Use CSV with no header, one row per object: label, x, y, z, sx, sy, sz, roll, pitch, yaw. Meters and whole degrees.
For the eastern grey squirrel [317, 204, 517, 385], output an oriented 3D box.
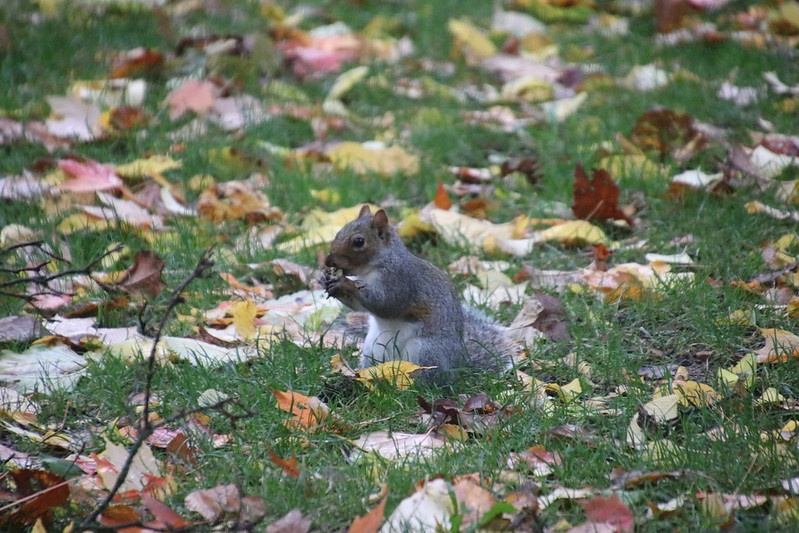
eastern grey squirrel,0.143,0.176,5.669,1.195,0.977,0.519,5,7,-21
